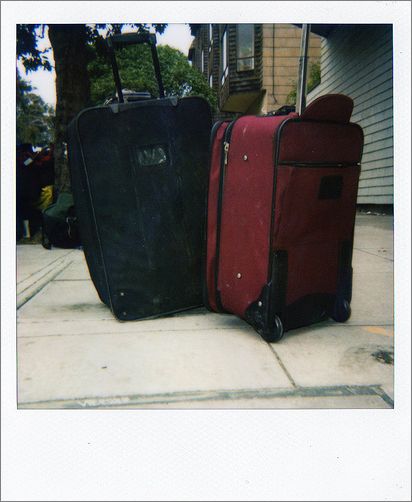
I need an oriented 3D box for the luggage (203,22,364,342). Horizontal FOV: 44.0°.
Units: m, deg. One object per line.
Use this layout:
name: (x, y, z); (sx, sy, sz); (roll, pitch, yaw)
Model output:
luggage: (0.308, -0.308, 2.088); (0.502, 1.294, 0.531); (4, 9, -11)
